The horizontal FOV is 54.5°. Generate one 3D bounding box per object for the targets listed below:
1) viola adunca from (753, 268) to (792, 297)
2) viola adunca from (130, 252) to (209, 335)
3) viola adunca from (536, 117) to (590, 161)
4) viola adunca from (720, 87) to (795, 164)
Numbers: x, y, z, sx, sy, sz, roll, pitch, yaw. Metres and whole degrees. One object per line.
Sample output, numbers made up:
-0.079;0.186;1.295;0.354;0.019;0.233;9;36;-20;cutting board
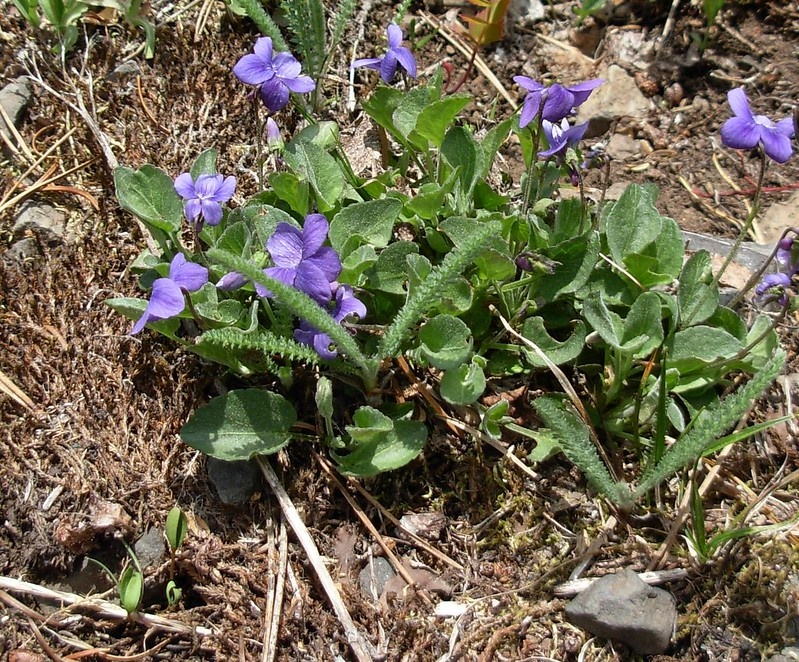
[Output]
1.322;-0.180;2.744;0.106;0.087;0.049;-37;87;19;viola adunca
-0.778;-0.161;2.502;0.236;0.094;0.230;43;81;6;viola adunca
0.592;-0.710;2.899;0.182;0.177;0.116;-17;82;7;viola adunca
1.219;-0.689;2.651;0.245;0.199;0.212;18;52;12;viola adunca
